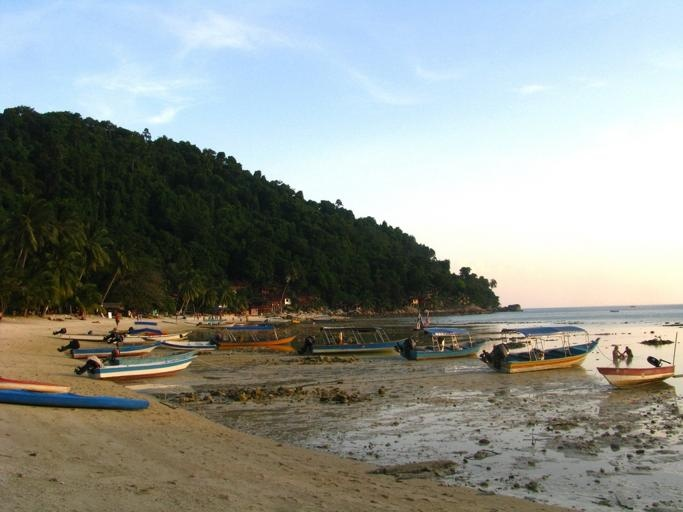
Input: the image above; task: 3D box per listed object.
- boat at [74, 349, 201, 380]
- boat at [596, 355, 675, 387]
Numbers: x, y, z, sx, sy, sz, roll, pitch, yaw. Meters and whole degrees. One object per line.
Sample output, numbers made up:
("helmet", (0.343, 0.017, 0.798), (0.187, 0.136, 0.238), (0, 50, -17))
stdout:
("boat", (-10.210, 5.445, 26.840), (1.172, 1.272, 5.407), (-4, -5, 36))
("boat", (15.055, 5.712, 27.066), (5.239, 1.388, 1.727), (4, -17, -27))
